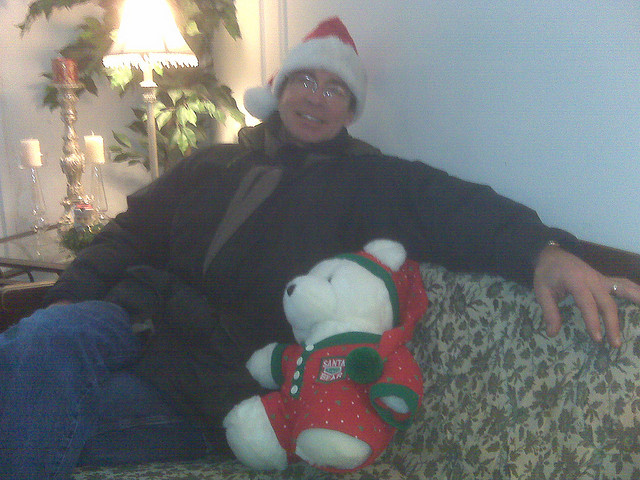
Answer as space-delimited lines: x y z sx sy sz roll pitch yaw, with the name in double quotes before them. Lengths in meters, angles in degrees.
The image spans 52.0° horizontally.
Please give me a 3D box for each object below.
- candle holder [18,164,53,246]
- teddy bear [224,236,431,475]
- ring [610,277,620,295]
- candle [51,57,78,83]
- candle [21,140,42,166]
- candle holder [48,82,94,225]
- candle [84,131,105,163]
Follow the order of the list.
"candle holder" -1.268 -0.198 2.963 0.148 0.379 0.140 9 20 26
"teddy bear" -0.004 0.280 1.811 0.506 0.693 0.604 17 -15 -35
"ring" 0.701 0.112 1.565 0.016 0.019 0.055 6 42 19
"candle" -1.023 -0.687 2.629 0.099 0.099 0.102 4 15 20
"candle" -1.168 -0.357 2.664 0.067 0.100 0.073 -6 18 -28
"candle holder" -1.025 -0.354 2.716 0.198 0.595 0.191 9 14 40
"candle" -0.934 -0.383 2.720 0.082 0.134 0.081 -4 9 -34
